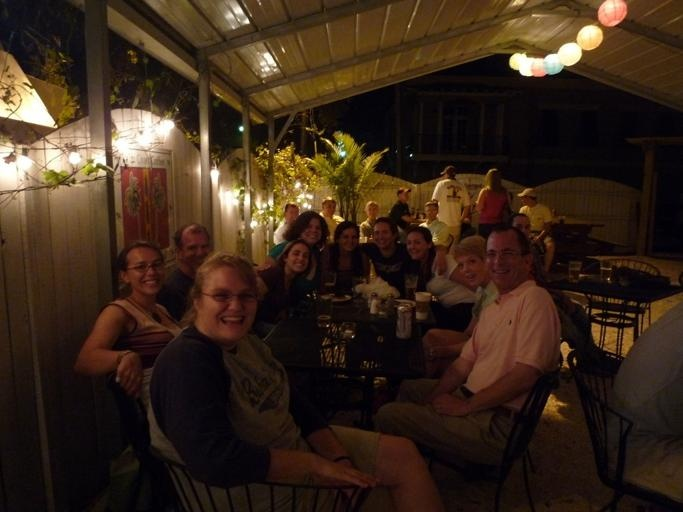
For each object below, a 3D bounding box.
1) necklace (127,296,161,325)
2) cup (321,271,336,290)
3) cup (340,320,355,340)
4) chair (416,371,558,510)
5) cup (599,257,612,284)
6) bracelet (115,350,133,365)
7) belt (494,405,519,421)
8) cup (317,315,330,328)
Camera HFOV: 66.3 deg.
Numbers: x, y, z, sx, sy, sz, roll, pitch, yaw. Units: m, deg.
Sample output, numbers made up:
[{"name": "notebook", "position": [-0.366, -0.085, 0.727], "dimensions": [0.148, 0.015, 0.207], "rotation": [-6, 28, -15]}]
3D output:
[{"name": "necklace", "position": [-1.336, 0.391, 3.570], "dimensions": [0.125, 0.196, 0.205], "rotation": [-22, 29, -14]}, {"name": "cup", "position": [-0.130, 0.248, 5.142], "dimensions": [0.149, 0.229, 0.146], "rotation": [0, 16, 0]}, {"name": "cup", "position": [0.048, 0.568, 3.962], "dimensions": [0.104, 0.109, 0.101], "rotation": [1, 2, 0]}, {"name": "chair", "position": [0.930, 1.225, 3.439], "dimensions": [0.741, 1.028, 0.699], "rotation": [11, 22, 29]}, {"name": "cup", "position": [2.972, 0.155, 5.867], "dimensions": [0.109, 0.233, 0.360], "rotation": [3, 6, 26]}, {"name": "bracelet", "position": [-1.305, 0.602, 3.146], "dimensions": [0.081, 0.080, 0.060], "rotation": [-13, 46, -46]}, {"name": "belt", "position": [1.037, 0.988, 3.309], "dimensions": [0.124, 0.056, 0.089], "rotation": [2, -6, -20]}, {"name": "cup", "position": [-0.142, 0.534, 4.209], "dimensions": [0.087, 0.067, 0.087], "rotation": [-1, 3, 0]}]
